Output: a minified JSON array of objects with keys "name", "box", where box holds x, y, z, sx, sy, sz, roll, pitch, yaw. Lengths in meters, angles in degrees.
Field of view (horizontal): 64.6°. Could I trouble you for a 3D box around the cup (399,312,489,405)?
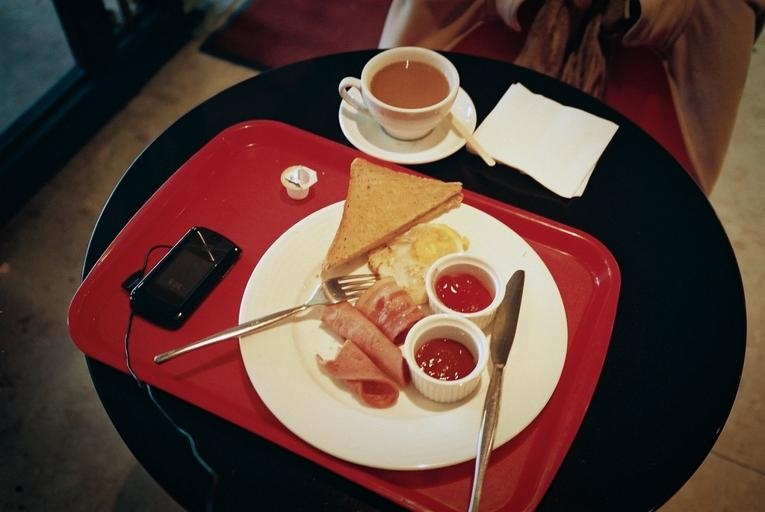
[{"name":"cup","box":[0.228,0.389,2.282,0.303,0.187,0.333,1,83,-5]}]
